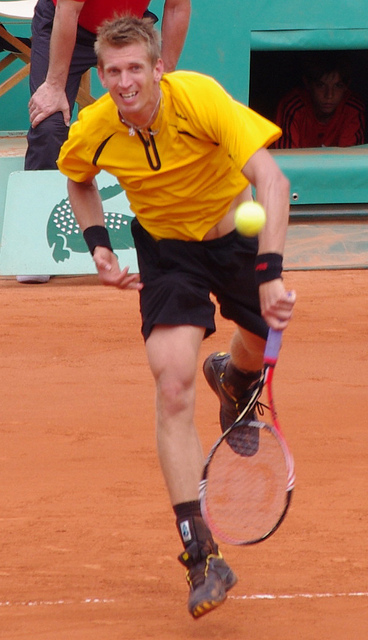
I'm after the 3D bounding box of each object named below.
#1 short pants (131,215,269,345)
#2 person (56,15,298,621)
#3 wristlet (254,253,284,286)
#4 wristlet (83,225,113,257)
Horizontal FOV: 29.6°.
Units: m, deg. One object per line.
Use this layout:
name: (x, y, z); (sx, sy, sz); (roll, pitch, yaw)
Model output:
short pants: (0.052, -0.133, 2.268); (0.611, 0.439, 0.365); (5, 24, -1)
person: (0.064, -0.093, 2.091); (0.612, 1.551, 1.088); (-11, 23, -20)
wristlet: (0.212, -0.126, 1.737); (0.077, 0.071, 0.069); (1, -6, -10)
wristlet: (-0.282, -0.262, 2.269); (0.080, 0.083, 0.128); (-7, 21, -10)
